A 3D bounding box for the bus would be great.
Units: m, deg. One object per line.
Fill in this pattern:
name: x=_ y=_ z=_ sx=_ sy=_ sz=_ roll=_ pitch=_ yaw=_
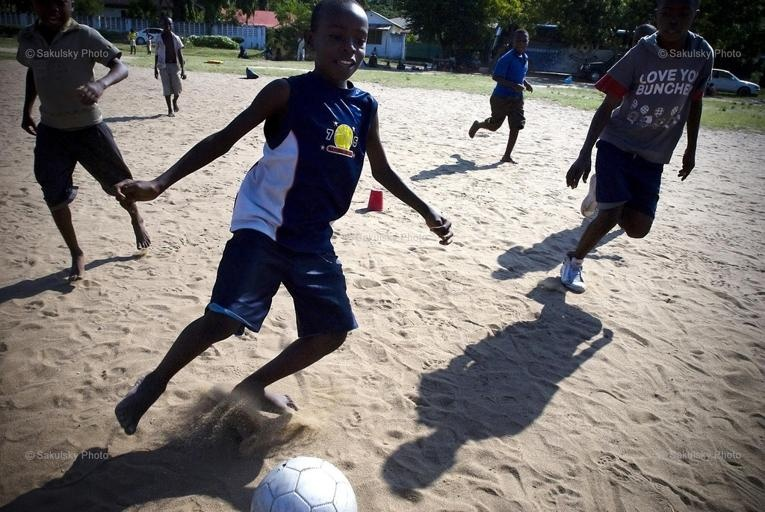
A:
bus: x=12.604 y=-14.019 z=42.065 sx=7.604 sy=1.723 sz=5.290 roll=0 pitch=14 yaw=-4
